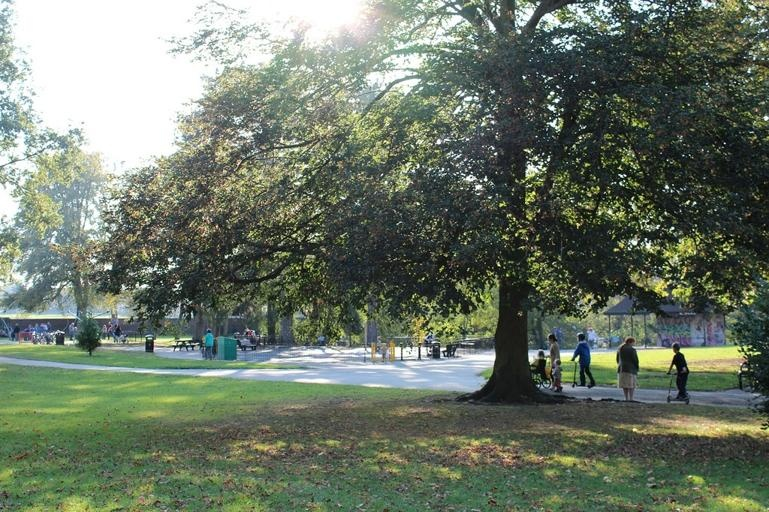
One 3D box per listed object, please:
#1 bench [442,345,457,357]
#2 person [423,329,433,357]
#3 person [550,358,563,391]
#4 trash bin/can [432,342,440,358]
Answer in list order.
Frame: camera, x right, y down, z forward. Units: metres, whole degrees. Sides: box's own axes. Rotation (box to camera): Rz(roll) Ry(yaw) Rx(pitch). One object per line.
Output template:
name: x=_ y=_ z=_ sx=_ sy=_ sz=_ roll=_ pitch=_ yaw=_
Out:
bench: x=4.798 y=7.052 z=52.617 sx=0.706 sy=1.063 sz=1.081 roll=-5 pitch=-12 yaw=39
person: x=3.725 y=7.669 z=59.438 sx=0.915 sy=1.218 sz=1.936 roll=2 pitch=-3 yaw=3
person: x=6.905 y=4.763 z=28.406 sx=0.385 sy=1.313 sz=0.627 roll=3 pitch=-7 yaw=9
trash bin/can: x=3.627 y=6.705 z=50.076 sx=0.531 sy=1.076 sz=0.916 roll=3 pitch=-7 yaw=4
